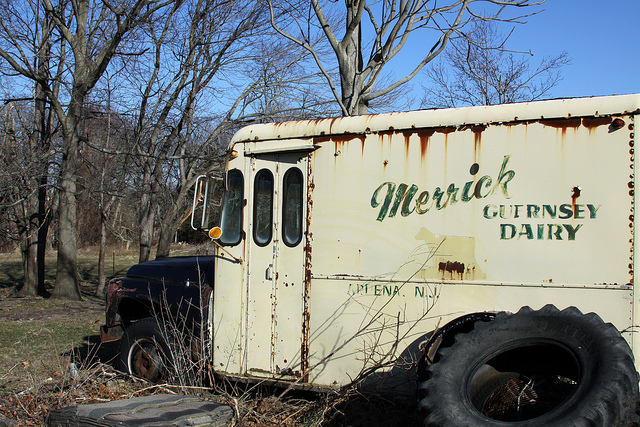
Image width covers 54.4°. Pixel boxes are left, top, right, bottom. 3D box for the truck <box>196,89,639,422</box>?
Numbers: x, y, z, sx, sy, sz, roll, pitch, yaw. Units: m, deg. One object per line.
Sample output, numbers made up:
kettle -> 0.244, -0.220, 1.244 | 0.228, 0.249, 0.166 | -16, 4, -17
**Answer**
truck -> 1.682, 0.574, 9.448 | 5.493, 3.742, 3.760 | -2, -6, 25
